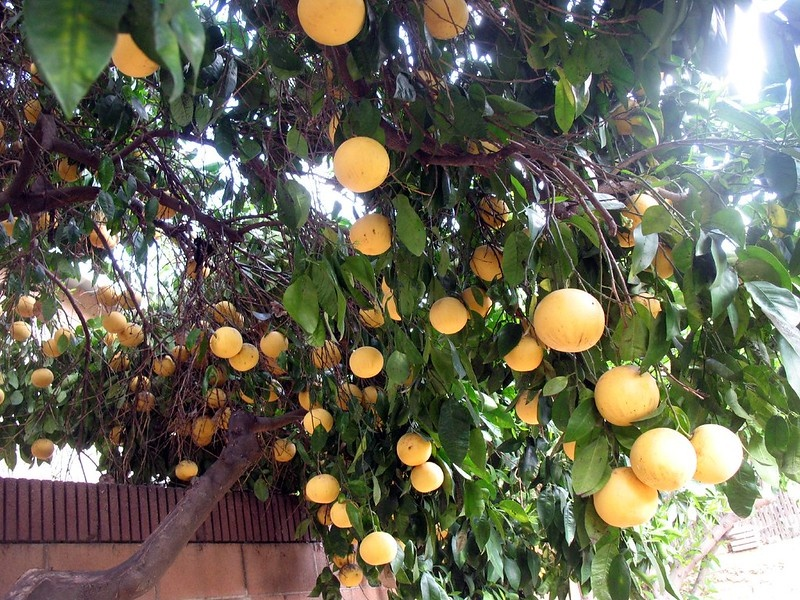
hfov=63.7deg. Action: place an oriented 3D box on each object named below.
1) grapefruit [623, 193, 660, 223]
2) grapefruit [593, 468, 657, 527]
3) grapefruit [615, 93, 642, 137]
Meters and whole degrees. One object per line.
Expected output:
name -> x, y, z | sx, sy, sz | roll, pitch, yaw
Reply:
grapefruit -> 0.658, -0.246, 1.747 | 0.060, 0.083, 0.063 | 24, -41, -22
grapefruit -> 0.554, 0.453, 1.575 | 0.121, 0.130, 0.143 | -7, -77, 34
grapefruit -> 0.740, -0.603, 2.125 | 0.040, 0.113, 0.120 | -14, -52, -21
